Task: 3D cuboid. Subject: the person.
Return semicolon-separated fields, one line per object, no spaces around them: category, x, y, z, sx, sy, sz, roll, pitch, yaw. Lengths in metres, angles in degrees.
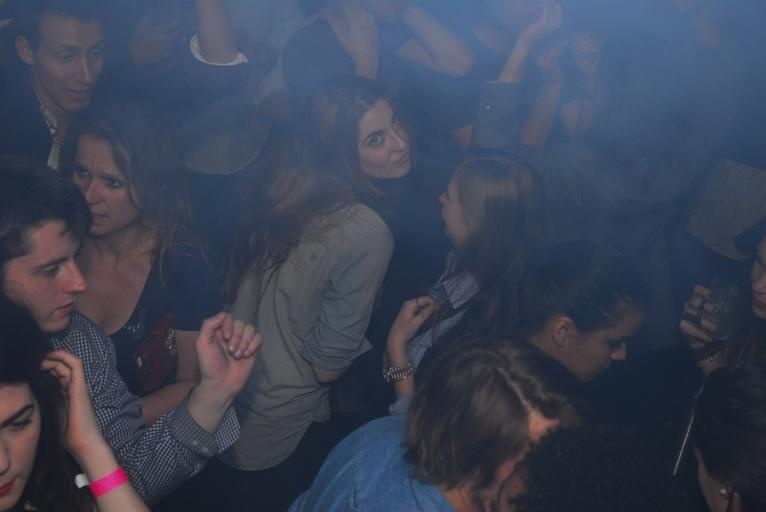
person;0.027;-0.054;2.736;1.915;0.662;0.674;10;56;14
